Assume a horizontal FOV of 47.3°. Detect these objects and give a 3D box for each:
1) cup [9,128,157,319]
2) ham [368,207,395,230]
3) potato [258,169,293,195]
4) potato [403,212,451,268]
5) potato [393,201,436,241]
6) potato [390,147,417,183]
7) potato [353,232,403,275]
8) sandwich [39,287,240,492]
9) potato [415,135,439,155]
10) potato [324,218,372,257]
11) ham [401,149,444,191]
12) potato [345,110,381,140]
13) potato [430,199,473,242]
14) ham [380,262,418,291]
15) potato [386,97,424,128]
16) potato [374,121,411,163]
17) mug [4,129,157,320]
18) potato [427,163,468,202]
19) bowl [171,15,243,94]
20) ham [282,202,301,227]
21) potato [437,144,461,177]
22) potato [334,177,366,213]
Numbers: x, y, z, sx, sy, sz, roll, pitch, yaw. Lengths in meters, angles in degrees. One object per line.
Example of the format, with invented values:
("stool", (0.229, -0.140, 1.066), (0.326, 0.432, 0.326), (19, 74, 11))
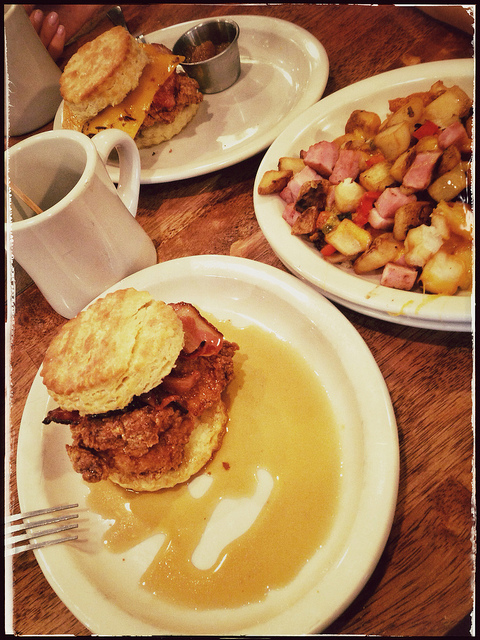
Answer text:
("cup", (-0.513, -0.289, 1.749), (0.334, 0.454, 0.523), (29, 59, 29))
("ham", (0.409, -0.281, 1.553), (0.060, 0.047, 0.063), (1, 83, 10))
("potato", (0.108, -0.442, 1.750), (0.084, 0.032, 0.087), (9, 54, 36))
("potato", (0.488, -0.206, 1.439), (0.105, 0.052, 0.142), (10, 81, 52))
("potato", (0.455, -0.278, 1.493), (0.105, 0.028, 0.101), (6, 96, -12))
("potato", (0.454, -0.432, 1.556), (0.024, 0.091, 0.086), (31, 87, -6))
("potato", (0.368, -0.195, 1.506), (0.033, 0.106, 0.111), (45, 122, -11))
("sandwich", (-0.209, 0.186, 1.567), (0.535, 0.582, 0.194), (-39, 106, -18))
("potato", (0.524, -0.490, 1.534), (0.057, 0.031, 0.057), (-14, 52, 19))
("potato", (0.308, -0.228, 1.540), (0.097, 0.029, 0.097), (-42, 77, -10))
("ham", (0.493, -0.406, 1.491), (0.071, 0.031, 0.131), (16, 86, 29))
("potato", (0.402, -0.646, 1.795), (0.113, 0.042, 0.108), (16, 95, 42))
("potato", (0.557, -0.265, 1.419), (0.105, 0.041, 0.105), (6, 68, 13))
("ham", (0.421, -0.114, 1.449), (0.064, 0.035, 0.045), (19, 106, 0))
("potato", (0.498, -0.605, 1.656), (0.108, 0.025, 0.068), (-46, 46, 12))
("potato", (0.445, -0.520, 1.612), (0.087, 0.028, 0.115), (34, 100, 23))
("mug", (-0.519, -0.286, 1.743), (0.341, 0.461, 0.535), (24, 56, 31))
("potato", (0.564, -0.367, 1.481), (0.107, 0.035, 0.060), (-40, 71, 23))
("bowl", (-0.141, -1.231, 2.584), (0.321, 0.209, 0.328), (-8, 57, 12))
("ham", (0.157, -0.328, 1.706), (0.063, 0.017, 0.064), (50, 129, 15))
("potato", (0.561, -0.424, 1.480), (0.047, 0.052, 0.068), (40, 78, 23))
("potato", (0.322, -0.371, 1.622), (0.097, 0.054, 0.093), (24, 95, 22))
